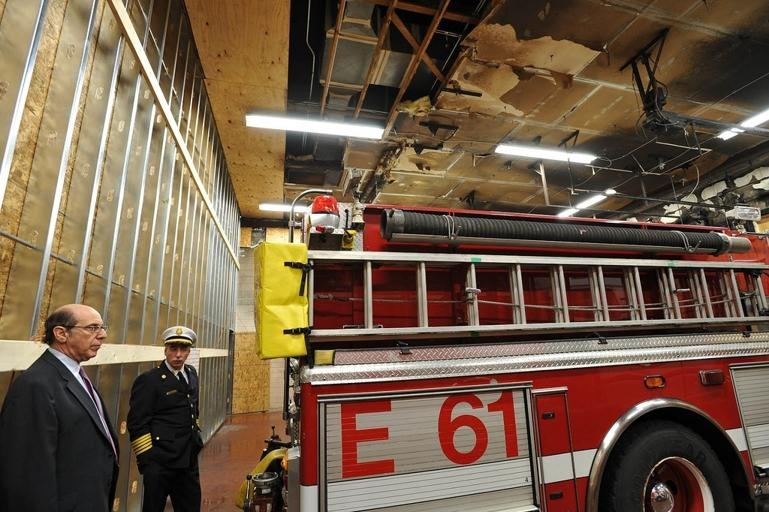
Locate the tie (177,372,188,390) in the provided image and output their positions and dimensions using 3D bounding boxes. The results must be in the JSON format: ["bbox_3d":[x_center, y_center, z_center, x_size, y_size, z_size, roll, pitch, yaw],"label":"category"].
[{"bbox_3d":[-2.444,1.495,5.366,0.071,0.266,0.070,-14,-39,-15],"label":"tie"}]

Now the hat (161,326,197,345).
[{"bbox_3d":[-2.600,1.001,5.553,0.447,0.170,0.483,5,-14,-23],"label":"hat"}]
